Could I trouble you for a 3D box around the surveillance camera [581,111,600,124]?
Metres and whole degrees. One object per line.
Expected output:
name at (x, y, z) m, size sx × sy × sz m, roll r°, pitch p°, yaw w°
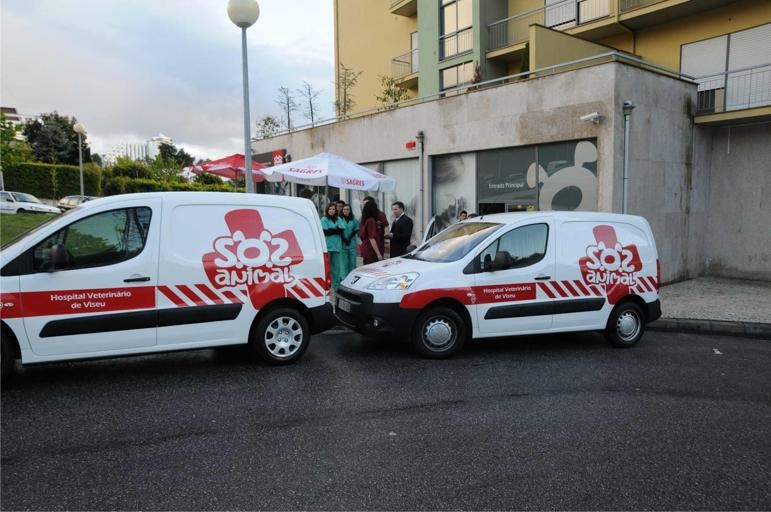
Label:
surveillance camera at (4.878, -3.270, 13.873) m, size 0.212 × 0.312 × 0.526 m, roll -9°, pitch 15°, yaw -44°
